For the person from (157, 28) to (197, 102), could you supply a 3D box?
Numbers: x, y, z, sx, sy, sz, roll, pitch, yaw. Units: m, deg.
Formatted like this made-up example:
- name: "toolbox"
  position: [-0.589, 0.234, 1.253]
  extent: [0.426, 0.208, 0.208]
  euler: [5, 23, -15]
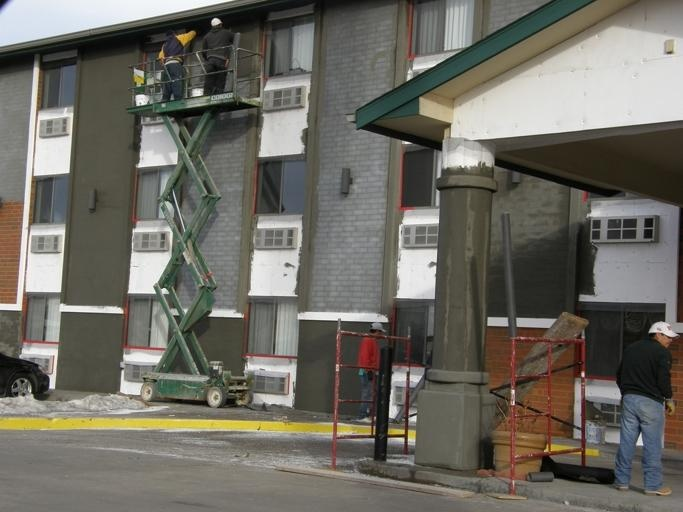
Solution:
- name: "person"
  position: [-4.776, -5.552, 29.727]
  extent: [0.968, 2.495, 1.208]
  euler: [4, -8, -12]

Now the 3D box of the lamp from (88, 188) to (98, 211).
- name: "lamp"
  position: [-7.625, -1.729, 31.610]
  extent: [0.207, 0.684, 0.237]
  euler: [-3, -9, 37]

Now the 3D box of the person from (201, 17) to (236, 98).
- name: "person"
  position: [-3.441, -5.485, 28.575]
  extent: [0.870, 2.201, 1.049]
  euler: [4, -8, -13]

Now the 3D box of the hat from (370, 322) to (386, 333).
- name: "hat"
  position: [0.897, 1.704, 24.669]
  extent: [0.314, 0.178, 0.241]
  euler: [-5, 6, -32]

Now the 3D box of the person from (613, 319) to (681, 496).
- name: "person"
  position: [4.756, 2.366, 16.174]
  extent: [0.846, 2.653, 0.529]
  euler: [0, -8, 17]

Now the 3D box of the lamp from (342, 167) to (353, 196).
- name: "lamp"
  position: [0.135, -1.960, 26.921]
  extent: [0.361, 0.725, 0.197]
  euler: [0, -8, 19]
